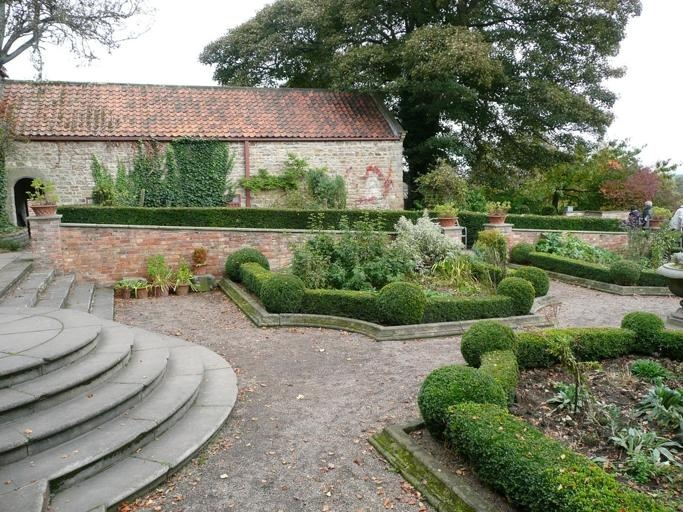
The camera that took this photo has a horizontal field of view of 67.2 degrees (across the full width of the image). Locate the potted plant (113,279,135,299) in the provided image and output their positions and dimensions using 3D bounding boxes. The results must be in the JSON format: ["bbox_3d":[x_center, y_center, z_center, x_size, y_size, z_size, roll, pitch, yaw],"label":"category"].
[{"bbox_3d":[-5.449,0.828,12.929,0.400,0.212,0.512,1,9,-7],"label":"potted plant"}]

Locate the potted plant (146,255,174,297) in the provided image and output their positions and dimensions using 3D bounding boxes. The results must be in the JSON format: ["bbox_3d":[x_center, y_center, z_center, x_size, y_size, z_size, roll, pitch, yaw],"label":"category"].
[{"bbox_3d":[-4.768,0.481,13.437,0.598,0.933,0.835,-1,8,-20],"label":"potted plant"}]

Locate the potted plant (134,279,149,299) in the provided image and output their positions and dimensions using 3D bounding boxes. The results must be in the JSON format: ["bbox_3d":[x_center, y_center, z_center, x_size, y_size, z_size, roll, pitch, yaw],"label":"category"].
[{"bbox_3d":[-5.050,0.849,12.898,0.391,0.291,0.390,0,2,-30],"label":"potted plant"}]

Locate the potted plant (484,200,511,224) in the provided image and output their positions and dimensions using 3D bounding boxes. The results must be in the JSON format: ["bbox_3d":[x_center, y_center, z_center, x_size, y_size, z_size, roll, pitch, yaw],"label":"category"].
[{"bbox_3d":[5.266,-1.430,17.229,0.651,0.771,1.042,4,8,14],"label":"potted plant"}]
